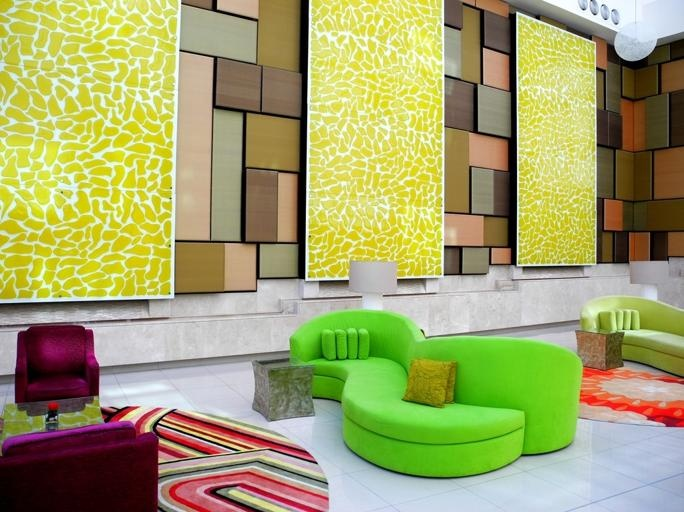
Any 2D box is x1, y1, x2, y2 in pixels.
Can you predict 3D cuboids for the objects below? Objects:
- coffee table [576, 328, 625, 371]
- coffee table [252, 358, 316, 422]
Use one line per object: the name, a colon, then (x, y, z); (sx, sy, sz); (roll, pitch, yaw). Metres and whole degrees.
coffee table: (3.498, 1.243, 6.562); (0.366, 0.459, 0.492); (-2, 0, -24)
coffee table: (-0.585, 1.237, 4.852); (0.596, 0.532, 0.483); (1, -1, -28)
